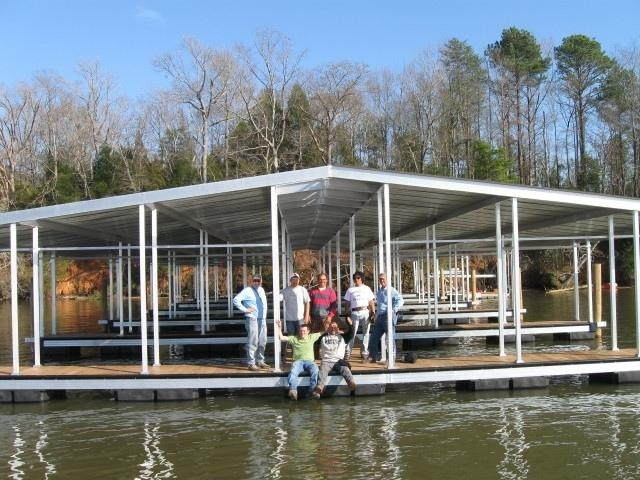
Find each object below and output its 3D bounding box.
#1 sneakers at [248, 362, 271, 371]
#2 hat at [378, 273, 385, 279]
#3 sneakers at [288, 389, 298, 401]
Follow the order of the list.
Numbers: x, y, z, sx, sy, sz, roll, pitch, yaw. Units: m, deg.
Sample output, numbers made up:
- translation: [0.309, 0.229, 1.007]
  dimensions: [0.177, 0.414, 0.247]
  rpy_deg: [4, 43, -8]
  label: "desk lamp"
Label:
- translation: [-1.443, 3.014, 19.336]
  dimensions: [0.548, 0.230, 0.197]
  rpy_deg: [0, -6, -1]
  label: "sneakers"
- translation: [1.532, 0.836, 19.571]
  dimensions: [0.117, 0.143, 0.155]
  rpy_deg: [0, -18, 4]
  label: "hat"
- translation: [-0.612, 3.541, 18.528]
  dimensions: [0.176, 0.138, 0.293]
  rpy_deg: [6, -32, 1]
  label: "sneakers"
